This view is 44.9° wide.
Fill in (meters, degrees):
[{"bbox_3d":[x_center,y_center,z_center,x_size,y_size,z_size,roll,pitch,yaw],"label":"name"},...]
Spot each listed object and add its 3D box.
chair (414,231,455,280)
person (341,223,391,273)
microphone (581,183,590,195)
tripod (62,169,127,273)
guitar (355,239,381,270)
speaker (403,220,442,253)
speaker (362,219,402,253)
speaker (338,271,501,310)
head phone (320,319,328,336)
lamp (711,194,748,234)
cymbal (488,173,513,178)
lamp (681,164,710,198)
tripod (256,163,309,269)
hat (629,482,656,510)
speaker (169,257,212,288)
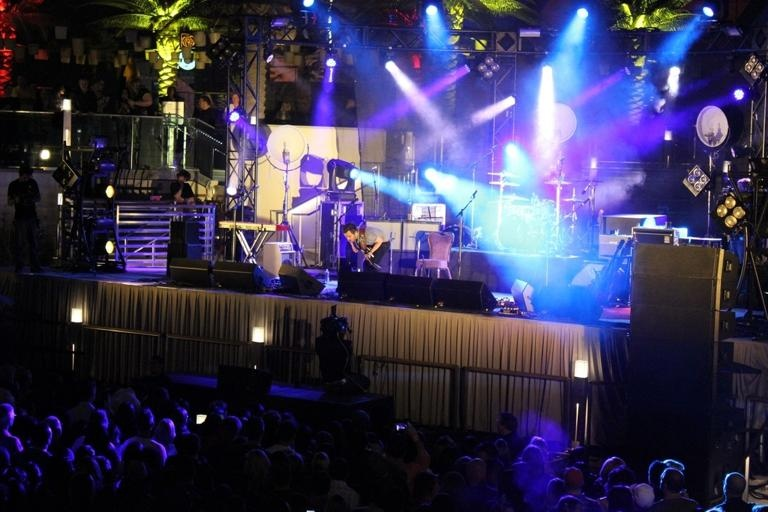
[{"bbox_3d":[1.171,0.030,21.369,0.748,1.143,0.743,9,10,37],"label":"chair"},{"bbox_3d":[-0.216,-0.059,20.248,0.974,1.384,0.704,-14,12,-1],"label":"person"},{"bbox_3d":[5.373,-1.791,24.668,0.214,0.285,0.535,2,-1,12],"label":"microphone"},{"bbox_3d":[-6.618,-0.672,20.951,1.126,2.562,0.920,2,13,19],"label":"tripod"},{"bbox_3d":[-0.257,-0.064,19.906,0.372,0.290,0.956,-1,33,-30],"label":"guitar"},{"bbox_3d":[0.883,-0.281,22.538,1.099,0.828,0.645,1,-2,-17],"label":"speaker"},{"bbox_3d":[0.001,-0.303,22.282,1.109,0.836,0.654,0,2,4],"label":"speaker"},{"bbox_3d":[0.607,0.690,17.996,2.935,0.666,0.668,2,-1,24],"label":"speaker"},{"bbox_3d":[-1.069,1.316,16.929,0.215,0.303,0.106,6,2,25],"label":"head phone"},{"bbox_3d":[6.419,-0.812,17.232,0.561,0.688,0.240,2,-2,26],"label":"lamp"},{"bbox_3d":[3.016,-2.086,23.777,0.358,0.154,0.355,-1,2,-18],"label":"cymbal"},{"bbox_3d":[7.237,-1.780,21.461,0.541,0.687,0.362,2,-2,20],"label":"lamp"},{"bbox_3d":[-3.086,-1.693,26.081,1.056,3.754,1.193,7,12,33],"label":"tripod"},{"bbox_3d":[3.658,3.429,13.229,0.297,0.386,0.355,-1,-17,5],"label":"hat"},{"bbox_3d":[-3.988,0.343,19.139,1.048,0.549,0.715,4,0,5],"label":"speaker"}]
